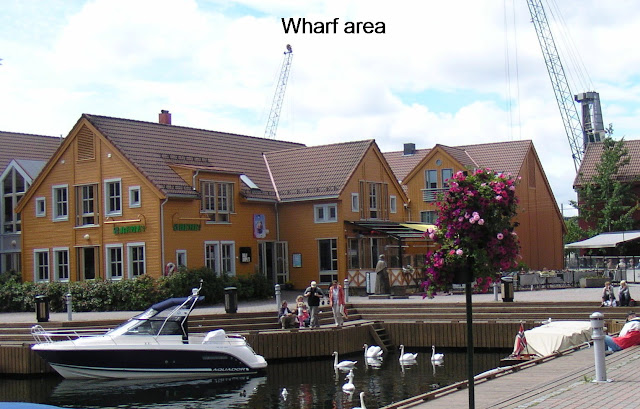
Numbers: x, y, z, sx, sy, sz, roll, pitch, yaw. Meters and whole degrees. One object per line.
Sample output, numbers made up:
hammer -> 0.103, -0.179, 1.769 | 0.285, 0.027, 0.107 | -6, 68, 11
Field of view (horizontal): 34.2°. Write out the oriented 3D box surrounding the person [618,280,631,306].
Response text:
person -> 15.761, 4.692, 54.744 | 0.675, 1.353, 1.700 | -8, -10, 23

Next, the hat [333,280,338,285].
hat -> 0.817, 4.149, 55.662 | 0.207, 0.285, 0.138 | -3, -12, -10

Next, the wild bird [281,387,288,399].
wild bird -> -1.616, 8.759, 48.433 | 0.265, 0.690, 0.378 | -2, 1, 12

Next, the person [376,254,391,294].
person -> 3.657, 4.354, 62.264 | 0.818, 2.108, 0.435 | -3, -9, -6

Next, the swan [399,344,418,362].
swan -> 4.370, 7.729, 53.263 | 1.422, 1.056, 0.560 | 3, -6, -35

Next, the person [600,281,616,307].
person -> 15.121, 4.750, 55.427 | 0.760, 1.456, 1.978 | -6, -10, 15

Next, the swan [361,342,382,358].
swan -> 2.782, 7.588, 53.934 | 0.970, 0.699, 0.568 | 2, -5, -34

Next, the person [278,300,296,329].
person -> -1.727, 5.913, 55.579 | 0.698, 1.480, 1.176 | -12, -12, 42

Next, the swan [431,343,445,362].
swan -> 5.931, 7.716, 53.346 | 0.635, 0.838, 1.388 | -5, -9, 6

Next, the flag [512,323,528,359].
flag -> 9.417, 6.555, 49.439 | 0.633, 1.280, 1.455 | -7, -10, 19
